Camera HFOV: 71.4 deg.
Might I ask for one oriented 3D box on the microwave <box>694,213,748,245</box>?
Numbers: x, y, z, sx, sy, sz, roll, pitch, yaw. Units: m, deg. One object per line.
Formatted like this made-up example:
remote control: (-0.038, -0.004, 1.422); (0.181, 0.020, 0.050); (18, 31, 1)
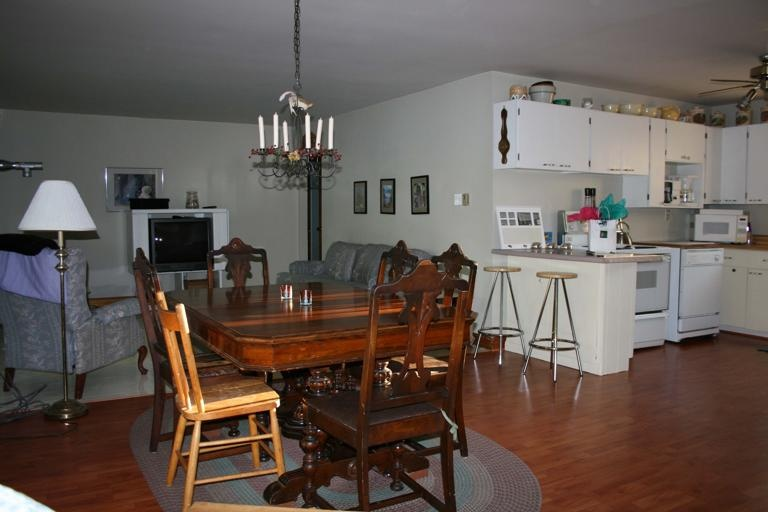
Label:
microwave: (4.538, -0.361, 7.228); (0.580, 0.391, 0.427); (1, 1, 29)

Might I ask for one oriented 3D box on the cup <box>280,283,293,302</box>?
cup: (-0.753, 0.295, 4.160); (0.127, 0.141, 0.125); (1, 0, 0)

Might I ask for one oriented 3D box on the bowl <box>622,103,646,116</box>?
bowl: (3.117, -1.849, 6.745); (0.210, 0.125, 0.205); (0, 4, 0)

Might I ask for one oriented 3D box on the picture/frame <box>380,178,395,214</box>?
picture/frame: (0.045, -0.850, 7.673); (0.084, 0.501, 0.375); (-6, 13, -28)

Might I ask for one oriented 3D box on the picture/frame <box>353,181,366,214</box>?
picture/frame: (-0.369, -0.889, 8.207); (0.082, 0.508, 0.433); (-7, 13, -29)

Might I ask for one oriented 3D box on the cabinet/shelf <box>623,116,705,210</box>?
cabinet/shelf: (3.619, -1.227, 6.999); (1.447, 1.357, 0.452); (-1, 2, -22)

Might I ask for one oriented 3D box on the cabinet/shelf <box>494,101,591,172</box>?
cabinet/shelf: (1.834, -1.371, 6.169); (1.176, 0.776, 0.366); (-4, 12, -20)

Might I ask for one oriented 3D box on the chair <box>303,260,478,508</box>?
chair: (0.033, 0.817, 3.315); (1.108, 1.648, 0.774); (-3, 12, -15)

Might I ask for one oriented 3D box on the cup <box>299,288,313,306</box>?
cup: (-0.576, 0.316, 3.998); (0.101, 0.168, 0.100); (1, -4, 0)

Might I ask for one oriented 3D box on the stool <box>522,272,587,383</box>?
stool: (1.773, 0.677, 5.514); (0.587, 1.060, 0.883); (4, 12, 18)

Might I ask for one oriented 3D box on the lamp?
lamp: (-2.758, 0.333, 4.651); (0.537, 1.958, 1.052); (-6, 13, -29)

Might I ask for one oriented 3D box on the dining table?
dining table: (-0.506, 0.655, 3.678); (1.402, 0.861, 2.079); (-4, 6, -31)

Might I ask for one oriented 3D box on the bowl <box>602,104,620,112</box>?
bowl: (2.807, -1.838, 6.666); (0.164, 0.074, 0.169); (0, -3, 0)

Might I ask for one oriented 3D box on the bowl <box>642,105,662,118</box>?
bowl: (3.434, -1.851, 6.888); (0.208, 0.146, 0.215); (0, 1, 0)

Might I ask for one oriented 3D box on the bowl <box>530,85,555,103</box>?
bowl: (1.782, -1.834, 6.132); (0.216, 0.146, 0.219); (0, -3, 0)
